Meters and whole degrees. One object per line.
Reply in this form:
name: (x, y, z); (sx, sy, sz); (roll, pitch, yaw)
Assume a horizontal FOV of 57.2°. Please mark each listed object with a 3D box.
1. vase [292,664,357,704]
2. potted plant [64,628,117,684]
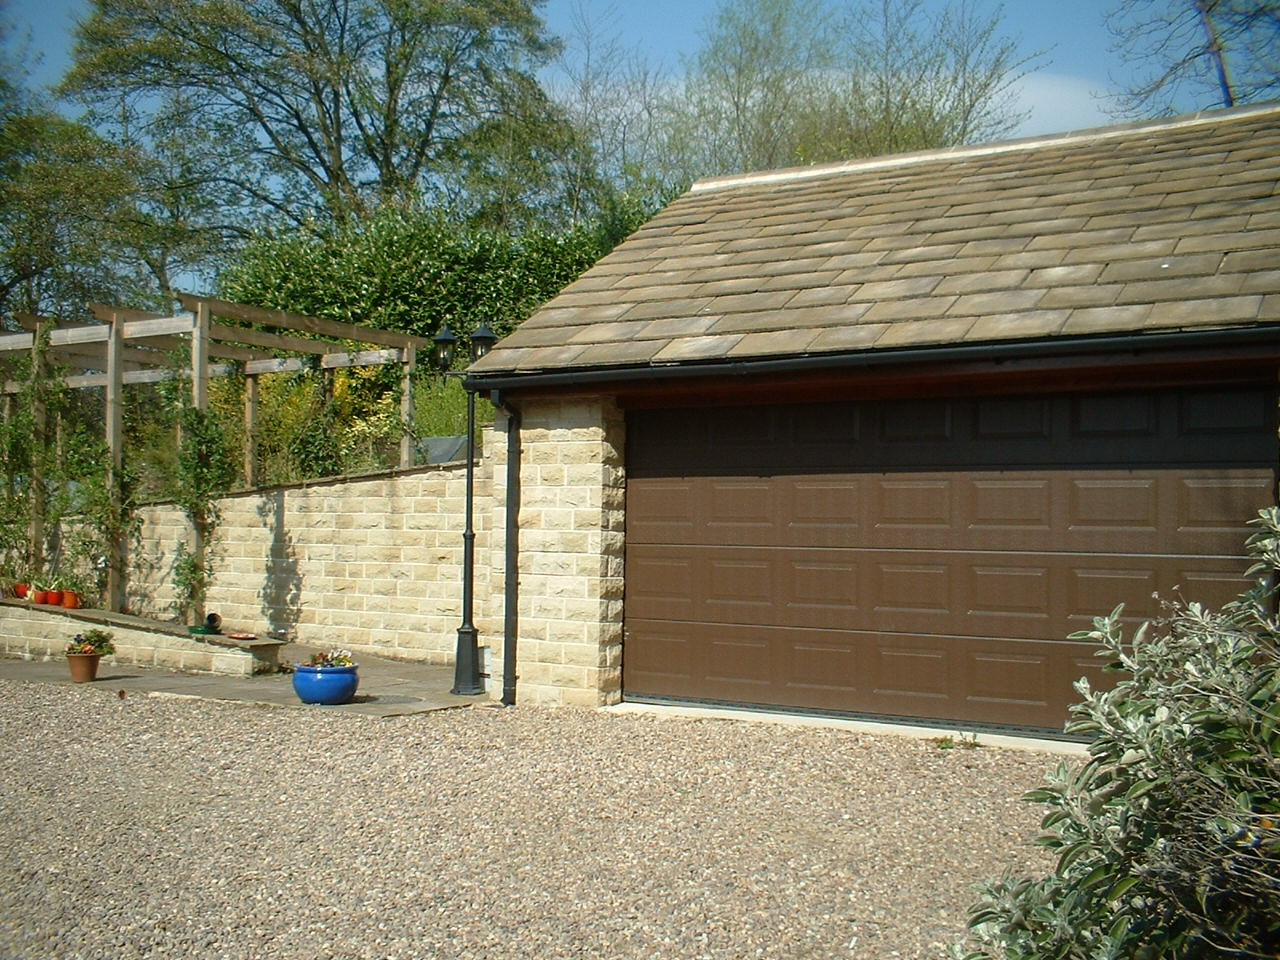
vase: (-3.004, 1.922, 11.234); (0.477, 0.226, 0.455); (-1, -2, 6)
potted plant: (-5.854, 1.855, 12.535); (0.616, 0.588, 0.535); (0, -15, -11)
